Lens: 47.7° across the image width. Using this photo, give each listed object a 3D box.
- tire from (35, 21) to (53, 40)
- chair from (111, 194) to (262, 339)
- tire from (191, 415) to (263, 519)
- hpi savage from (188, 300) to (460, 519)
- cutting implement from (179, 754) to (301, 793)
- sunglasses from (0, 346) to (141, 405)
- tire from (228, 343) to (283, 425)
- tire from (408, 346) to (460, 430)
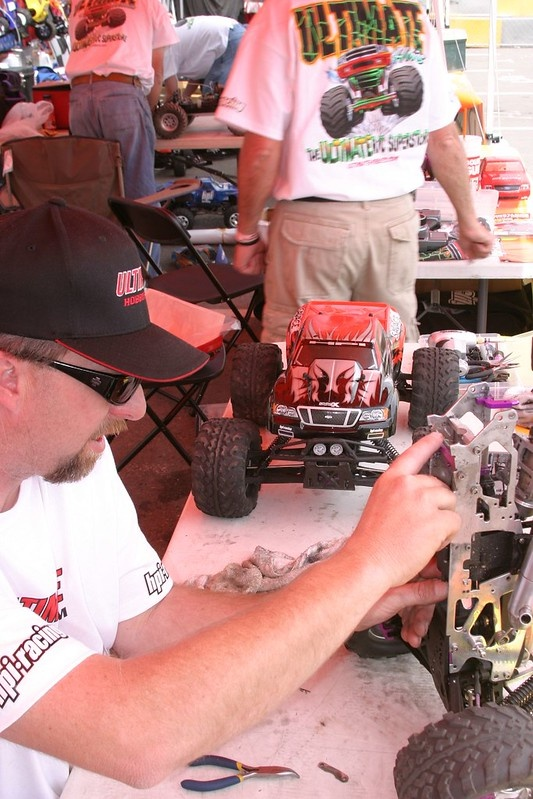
[{"bbox_3d":[-3.464,-5.811,9.465,0.305,0.229,0.411,-8,25,-15],"label":"tire"},{"bbox_3d":[-0.426,-0.691,3.589,0.624,1.055,0.821,27,39,35],"label":"chair"},{"bbox_3d":[-0.114,0.191,1.712,0.143,0.290,0.298,4,12,10],"label":"tire"},{"bbox_3d":[0.119,0.046,1.682,0.592,0.349,0.766,0,19,8],"label":"hpi savage"},{"bbox_3d":[-0.039,0.504,0.812,0.134,0.018,0.054,-4,14,2],"label":"cutting implement"},{"bbox_3d":[-0.233,-0.034,0.755,0.094,0.025,0.067,29,-2,-25],"label":"sunglasses"},{"bbox_3d":[-0.034,-0.071,2.071,0.126,0.274,0.281,4,2,4],"label":"tire"},{"bbox_3d":[0.498,-0.037,1.802,0.107,0.227,0.230,1,13,5],"label":"tire"}]
